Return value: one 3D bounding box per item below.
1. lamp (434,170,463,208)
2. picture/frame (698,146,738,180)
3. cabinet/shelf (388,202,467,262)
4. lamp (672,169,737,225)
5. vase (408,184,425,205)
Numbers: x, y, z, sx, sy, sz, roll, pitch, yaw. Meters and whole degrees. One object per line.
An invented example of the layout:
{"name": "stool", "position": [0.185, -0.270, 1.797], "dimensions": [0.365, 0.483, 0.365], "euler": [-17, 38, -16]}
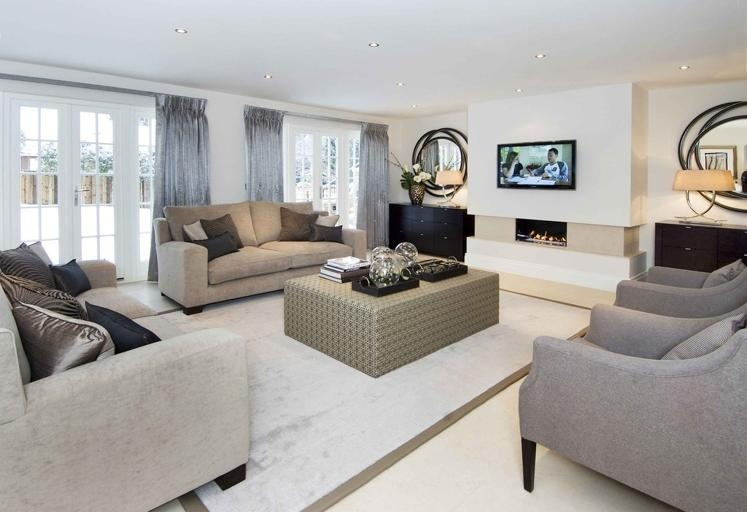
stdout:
{"name": "lamp", "position": [1.306, -1.164, 8.376], "dimensions": [0.592, 0.774, 0.600], "euler": [-1, 2, -5]}
{"name": "picture/frame", "position": [4.217, -1.129, 5.845], "dimensions": [0.458, 0.522, 0.039], "euler": [7, 15, 43]}
{"name": "cabinet/shelf", "position": [0.982, -0.514, 8.499], "dimensions": [1.563, 0.756, 0.402], "euler": [11, 18, 39]}
{"name": "lamp", "position": [4.118, -0.741, 5.923], "dimensions": [0.484, 0.744, 0.759], "euler": [-1, 1, -38]}
{"name": "vase", "position": [0.778, -1.115, 8.649], "dimensions": [0.336, 0.371, 0.324], "euler": [-1, 2, 10]}
